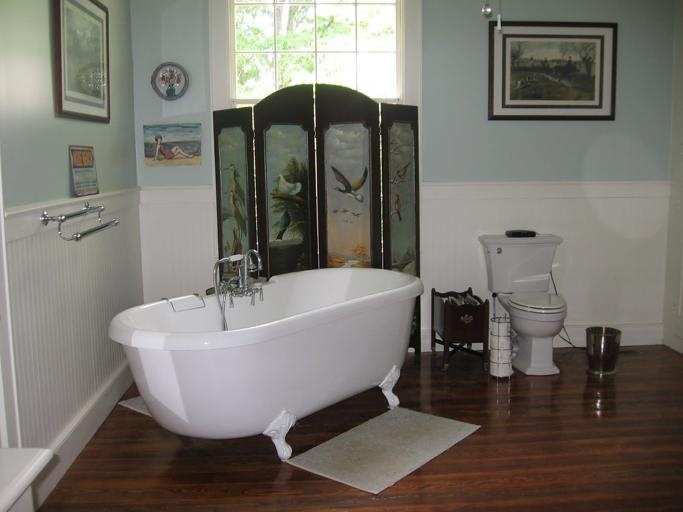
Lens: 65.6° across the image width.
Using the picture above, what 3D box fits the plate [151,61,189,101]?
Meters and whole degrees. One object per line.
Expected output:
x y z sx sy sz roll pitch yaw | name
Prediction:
-1.334 -1.371 4.121 0.275 0.292 0.068 3 11 -10 | plate

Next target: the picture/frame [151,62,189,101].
-1.336 -1.366 4.121 0.275 0.292 0.068 3 11 -10 | picture/frame

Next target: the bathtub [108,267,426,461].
-0.337 0.620 3.236 0.894 0.809 1.867 10 16 42 | bathtub

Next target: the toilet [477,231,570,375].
1.447 0.334 4.122 0.613 1.041 0.895 -3 10 1 | toilet

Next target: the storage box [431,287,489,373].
0.933 0.566 4.193 0.409 0.551 0.517 0 12 3 | storage box
